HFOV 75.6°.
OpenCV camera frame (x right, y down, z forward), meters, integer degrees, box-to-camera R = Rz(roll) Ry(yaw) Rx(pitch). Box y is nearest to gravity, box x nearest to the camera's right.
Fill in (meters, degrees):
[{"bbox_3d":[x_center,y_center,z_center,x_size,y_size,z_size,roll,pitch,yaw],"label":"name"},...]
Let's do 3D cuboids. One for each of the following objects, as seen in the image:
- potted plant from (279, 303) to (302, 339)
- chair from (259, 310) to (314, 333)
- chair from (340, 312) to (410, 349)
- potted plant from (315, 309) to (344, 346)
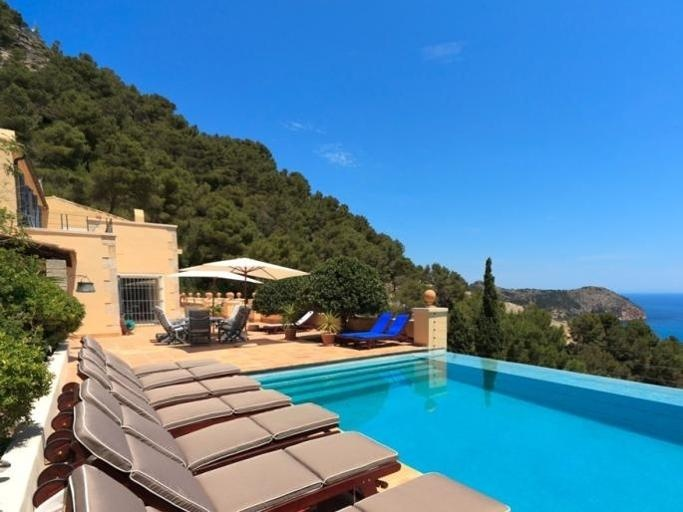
[{"bbox_3d":[-1.901,2.320,15.717,0.708,1.145,0.714,2,-3,9],"label":"potted plant"},{"bbox_3d":[-2.042,2.491,16.399,1.771,0.702,0.962,1,-6,-11],"label":"chair"},{"bbox_3d":[1.015,2.190,13.089,1.616,0.664,1.107,1,-4,-32],"label":"chair"},{"bbox_3d":[-0.415,2.263,13.871,0.909,1.078,0.954,1,1,-11],"label":"potted plant"}]
